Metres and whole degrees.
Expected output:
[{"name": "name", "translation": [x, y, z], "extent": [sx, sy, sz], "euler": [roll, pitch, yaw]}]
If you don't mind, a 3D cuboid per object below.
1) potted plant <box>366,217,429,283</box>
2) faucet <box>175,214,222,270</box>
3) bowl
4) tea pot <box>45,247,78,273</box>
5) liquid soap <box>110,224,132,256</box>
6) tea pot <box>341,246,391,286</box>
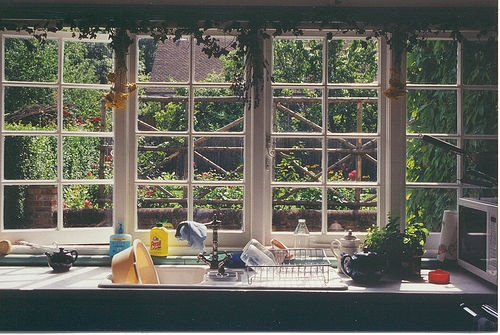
[{"name": "potted plant", "translation": [1.058, 0.594, 5.525], "extent": [0.445, 0.439, 0.467], "euler": [1, -4, 6]}, {"name": "faucet", "translation": [-0.358, 0.542, 5.612], "extent": [0.406, 0.372, 0.129], "euler": [2, 7, 6]}, {"name": "bowl", "translation": [-0.810, 0.694, 5.437], "extent": [0.385, 0.330, 0.307], "euler": [-3, 4, -27]}, {"name": "tea pot", "translation": [-1.378, 0.679, 5.526], "extent": [0.224, 0.143, 0.151], "euler": [3, -8, -16]}, {"name": "liquid soap", "translation": [-0.986, 0.531, 5.728], "extent": [0.165, 0.270, 0.043], "euler": [1, 18, -11]}, {"name": "tea pot", "translation": [0.822, 0.696, 5.476], "extent": [0.343, 0.233, 0.270], "euler": [-4, 3, 12]}]
